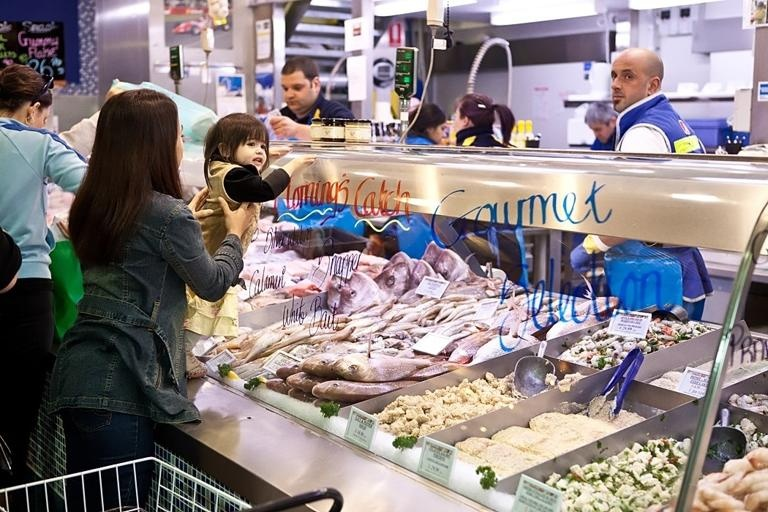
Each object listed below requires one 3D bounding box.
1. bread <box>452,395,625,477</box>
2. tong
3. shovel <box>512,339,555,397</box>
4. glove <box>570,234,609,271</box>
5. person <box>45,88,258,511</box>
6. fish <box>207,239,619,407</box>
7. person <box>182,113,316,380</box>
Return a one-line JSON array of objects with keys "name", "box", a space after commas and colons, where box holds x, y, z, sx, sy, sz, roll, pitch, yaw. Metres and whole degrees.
[{"name": "bread", "box": [0.446, 0.527, 1.516, 0.451, 0.086, 0.260, -3, 9, -25]}, {"name": "tong", "box": [0.730, 0.415, 1.620, 0.057, 0.287, 0.095, 6, 27, -39]}, {"name": "shovel", "box": [0.515, 0.359, 1.742, 0.123, 0.189, 0.057, 20, 2, 16]}, {"name": "glove", "box": [0.577, -0.008, 1.477, 0.039, 0.097, 0.081, 11, 42, -51]}, {"name": "person", "box": [-0.776, 0.180, 1.685, 0.649, 1.413, 0.382, -1, 9, -15]}, {"name": "fish", "box": [-0.015, 0.293, 1.929, 0.969, 0.099, 0.707, -20, 24, -7]}, {"name": "person", "box": [-0.511, -0.202, 2.265, 0.530, 0.932, 0.391, -24, 49, -25]}]
